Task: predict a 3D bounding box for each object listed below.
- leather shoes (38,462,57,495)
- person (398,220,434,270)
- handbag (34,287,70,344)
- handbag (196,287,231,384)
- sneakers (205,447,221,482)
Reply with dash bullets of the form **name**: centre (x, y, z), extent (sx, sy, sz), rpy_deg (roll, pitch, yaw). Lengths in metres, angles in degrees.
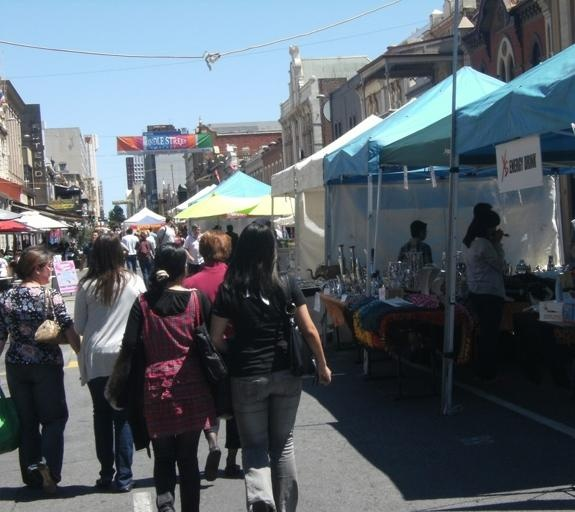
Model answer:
- **leather shoes**: centre (-1.830, 1.702, 5.433), extent (0.094, 0.336, 0.119), rpy_deg (-15, 10, -15)
- **person**: centre (1.749, -0.176, 9.808), extent (0.416, 0.577, 0.742), rpy_deg (-2, 4, 9)
- **handbag**: centre (-1.822, 0.473, 5.408), extent (0.224, 0.433, 0.275), rpy_deg (-5, 5, -39)
- **handbag**: centre (-0.470, 0.531, 4.532), extent (0.132, 0.238, 0.564), rpy_deg (-11, 54, -28)
- **sneakers**: centre (-0.570, 1.566, 5.398), extent (0.090, 0.324, 0.121), rpy_deg (3, 27, -7)
